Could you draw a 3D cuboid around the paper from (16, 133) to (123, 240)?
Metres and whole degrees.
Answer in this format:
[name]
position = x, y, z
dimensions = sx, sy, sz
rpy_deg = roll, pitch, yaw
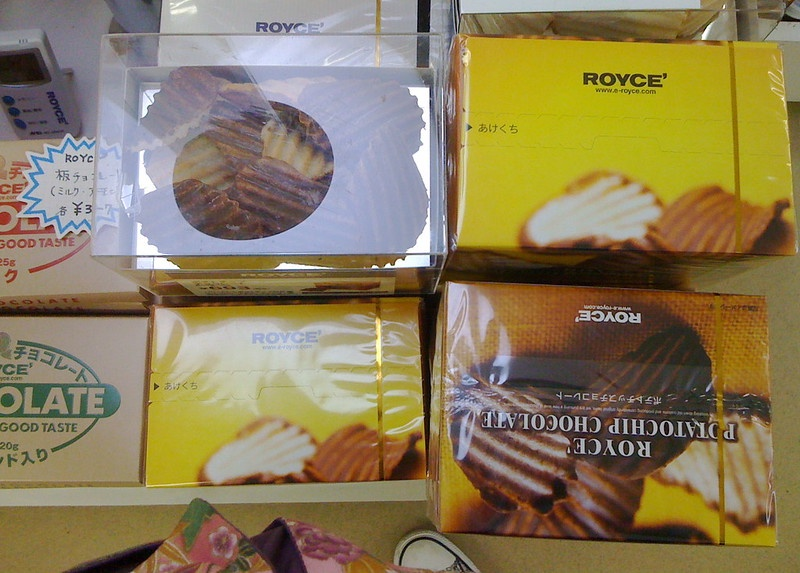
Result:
[paper]
position = -0.804, -0.234, 1.848
dimensions = 0.169, 0.070, 0.235
rpy_deg = 0, 71, -2
